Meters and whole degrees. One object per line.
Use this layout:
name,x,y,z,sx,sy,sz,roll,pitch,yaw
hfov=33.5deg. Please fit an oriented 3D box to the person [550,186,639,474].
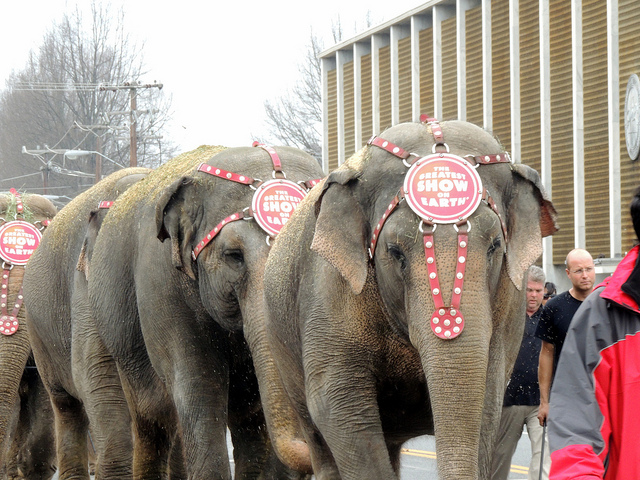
person,1.146,0.500,4.415,0.414,0.937,0.149,-4,-12,12

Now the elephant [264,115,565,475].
elephant,0.100,0.454,5.524,0.994,1.568,2.114,2,-18,-11
